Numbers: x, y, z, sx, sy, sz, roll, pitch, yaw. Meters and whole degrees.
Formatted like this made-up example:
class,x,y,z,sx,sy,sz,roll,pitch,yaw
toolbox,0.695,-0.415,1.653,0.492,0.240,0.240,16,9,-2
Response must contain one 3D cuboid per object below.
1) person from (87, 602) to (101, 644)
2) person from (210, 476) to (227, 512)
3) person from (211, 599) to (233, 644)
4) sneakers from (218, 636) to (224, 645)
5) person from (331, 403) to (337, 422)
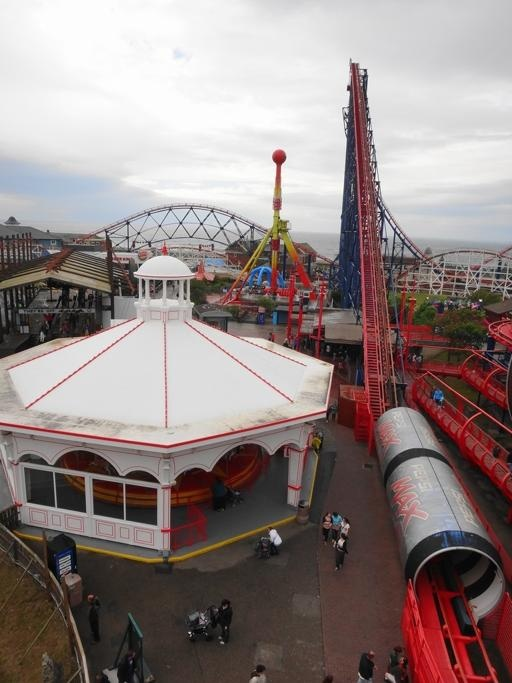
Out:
class,x,y,z,sx,sy,sz,roll,pitch,yaw
person,-3.341,5.686,9.549,0.205,1.004,0.197,2,13,-15
person,-1.189,4.811,14.950,0.541,0.942,0.873,4,12,-3
person,-0.707,5.859,9.811,0.433,0.881,0.383,3,0,-6
sneakers,-0.733,6.251,9.789,0.071,0.117,0.189,4,-7,-12
person,3.991,3.622,23.685,0.249,0.738,0.702,8,12,12
